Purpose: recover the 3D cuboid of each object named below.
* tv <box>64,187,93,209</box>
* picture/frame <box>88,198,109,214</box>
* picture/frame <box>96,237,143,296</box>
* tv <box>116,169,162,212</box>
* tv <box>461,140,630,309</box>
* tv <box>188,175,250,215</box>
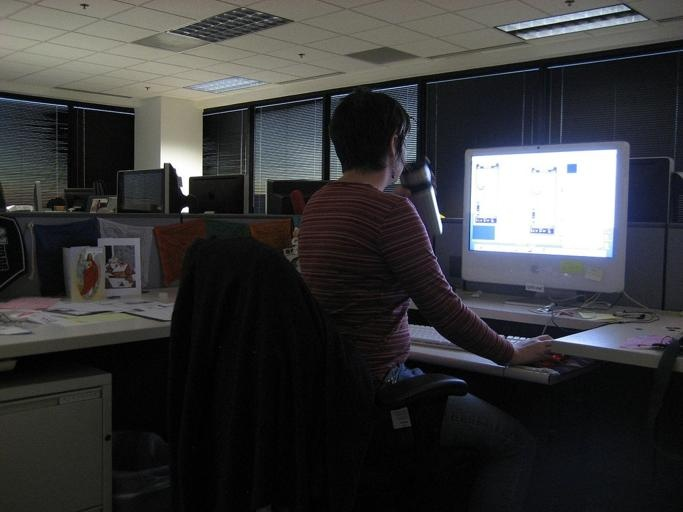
[{"bbox_3d":[-2.738,-0.601,5.535,0.329,0.261,0.119,1,-12,-14],"label":"tv"},{"bbox_3d":[-2.228,-0.477,4.888,0.139,0.126,0.450,-6,10,-29],"label":"picture/frame"},{"bbox_3d":[-0.996,0.049,2.380,0.223,0.265,0.004,-4,-6,13],"label":"picture/frame"},{"bbox_3d":[-1.375,-0.459,3.797,0.588,0.313,0.062,4,-2,44],"label":"tv"},{"bbox_3d":[0.824,-0.123,2.103,0.756,0.665,0.243,1,1,31],"label":"tv"},{"bbox_3d":[-0.954,-0.451,3.970,0.537,0.287,0.056,2,0,31],"label":"tv"}]
